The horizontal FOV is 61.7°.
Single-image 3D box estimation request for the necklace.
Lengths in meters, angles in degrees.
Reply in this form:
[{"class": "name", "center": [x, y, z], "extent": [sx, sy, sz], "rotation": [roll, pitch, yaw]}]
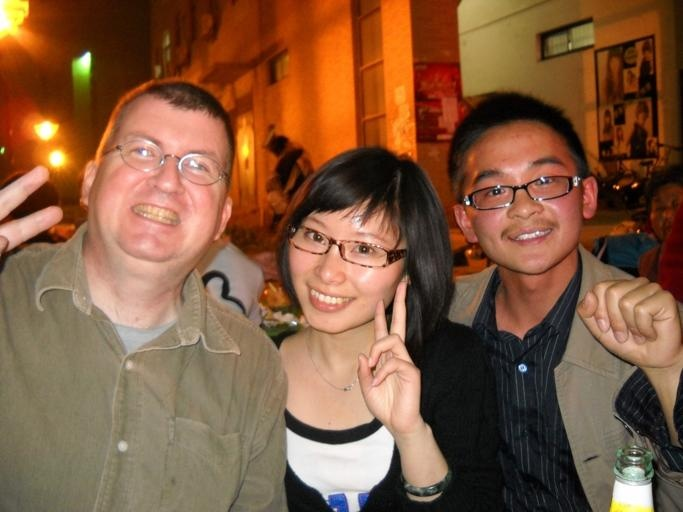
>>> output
[{"class": "necklace", "center": [-0.075, 0.590, 3.099], "extent": [0.195, 0.306, 0.049], "rotation": [-29, -10, 14]}]
